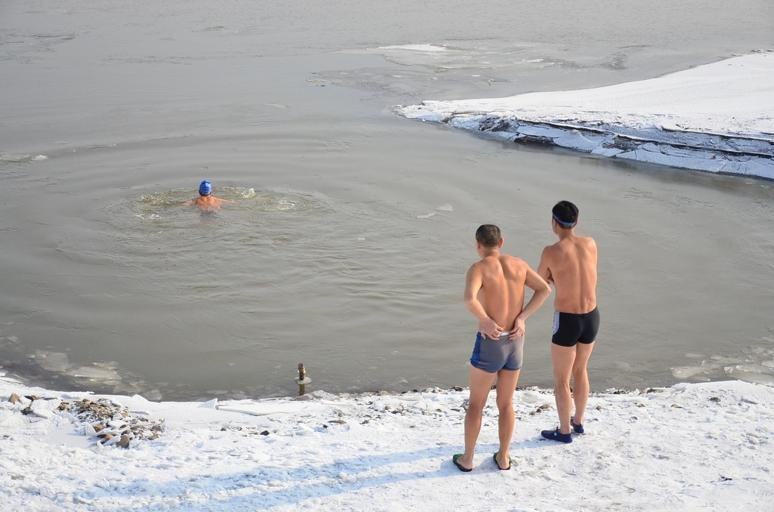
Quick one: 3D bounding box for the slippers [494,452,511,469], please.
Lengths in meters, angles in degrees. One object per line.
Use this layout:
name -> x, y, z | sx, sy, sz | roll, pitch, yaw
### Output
slippers -> 2.294, 4.077, 16.342 | 0.306, 0.138, 0.345 | -20, 55, 0

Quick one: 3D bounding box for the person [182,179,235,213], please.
person -> -6.255, -2.062, 28.730 | 2.301, 0.726, 0.577 | -5, 3, -24

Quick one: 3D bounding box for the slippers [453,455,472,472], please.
slippers -> 1.492, 4.108, 16.286 | 0.292, 0.105, 0.409 | -3, 19, -21
